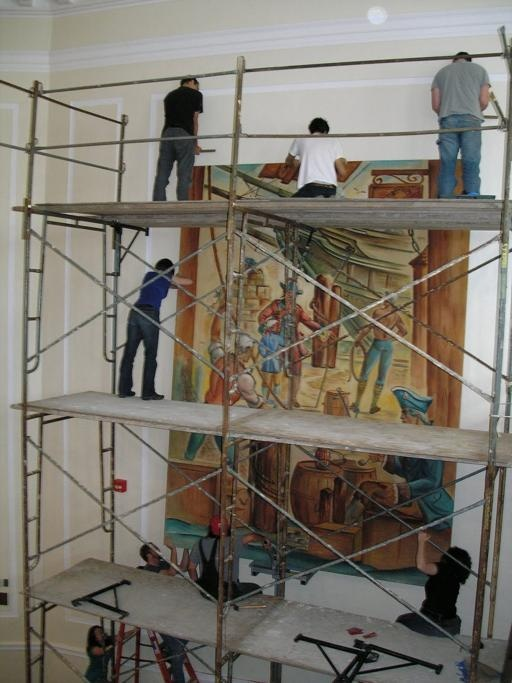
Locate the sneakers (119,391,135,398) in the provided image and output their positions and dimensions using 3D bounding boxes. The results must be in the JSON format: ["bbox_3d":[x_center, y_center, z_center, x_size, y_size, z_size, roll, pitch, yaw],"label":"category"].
[{"bbox_3d":[-0.998,0.412,8.977,0.044,0.056,0.131,-2,-8,28],"label":"sneakers"}]

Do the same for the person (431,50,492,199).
[{"bbox_3d":[1.422,-1.499,8.172,0.395,1.035,1.005,1,0,8],"label":"person"}]

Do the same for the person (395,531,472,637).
[{"bbox_3d":[1.297,1.787,8.466,0.519,0.770,0.674,1,0,10],"label":"person"}]

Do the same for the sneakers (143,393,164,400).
[{"bbox_3d":[-0.792,0.415,8.897,0.162,0.066,0.057,-2,3,-20],"label":"sneakers"}]

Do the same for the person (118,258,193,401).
[{"bbox_3d":[-0.779,-0.090,8.816,0.525,0.997,0.933,1,0,-7],"label":"person"}]

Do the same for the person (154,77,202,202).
[{"bbox_3d":[-0.611,-1.552,9.009,0.368,0.910,0.732,1,0,-3],"label":"person"}]
